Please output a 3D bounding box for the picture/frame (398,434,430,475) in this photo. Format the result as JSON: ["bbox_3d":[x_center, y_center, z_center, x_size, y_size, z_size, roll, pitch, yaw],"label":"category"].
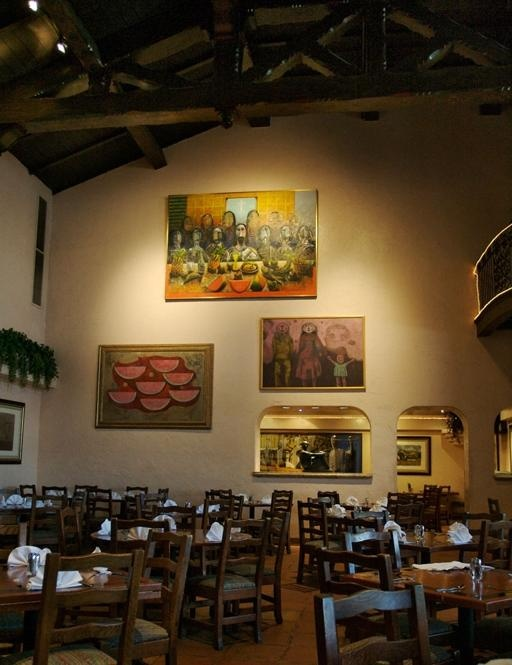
[{"bbox_3d":[4.388,3.371,15.861,1.284,1.176,0.085,1,-9,10],"label":"picture/frame"}]

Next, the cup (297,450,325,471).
[{"bbox_3d":[1.312,2.976,13.276,0.523,0.339,0.389,5,-19,3],"label":"cup"}]

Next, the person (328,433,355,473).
[{"bbox_3d":[2.075,2.913,13.918,0.634,0.901,0.142,0,-6,14],"label":"person"}]
